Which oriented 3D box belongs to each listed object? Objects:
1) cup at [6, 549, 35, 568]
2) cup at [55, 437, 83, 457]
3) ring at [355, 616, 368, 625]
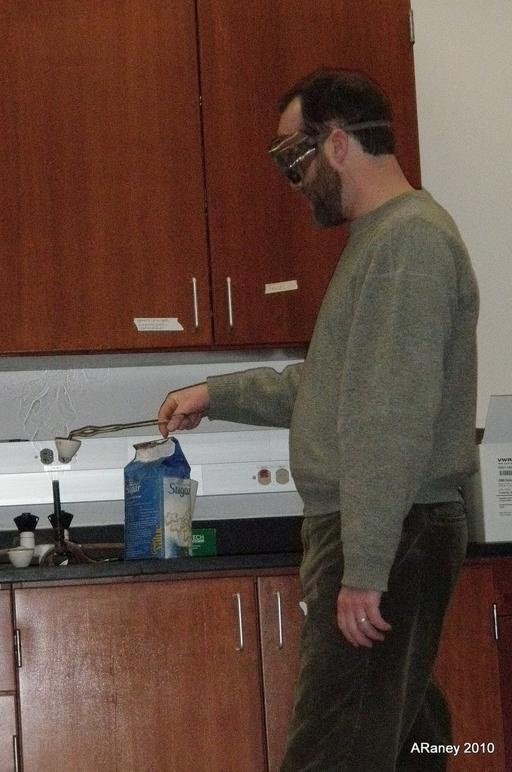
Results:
[{"bbox_3d":[-0.596,0.430,1.955,0.062,0.045,0.057,-1,4,0],"label":"cup"},{"bbox_3d":[-0.512,0.164,2.103,0.063,0.048,0.069,1,3,0],"label":"cup"},{"bbox_3d":[0.152,0.334,1.082,0.011,0.013,0.005,-4,2,-9],"label":"ring"}]
